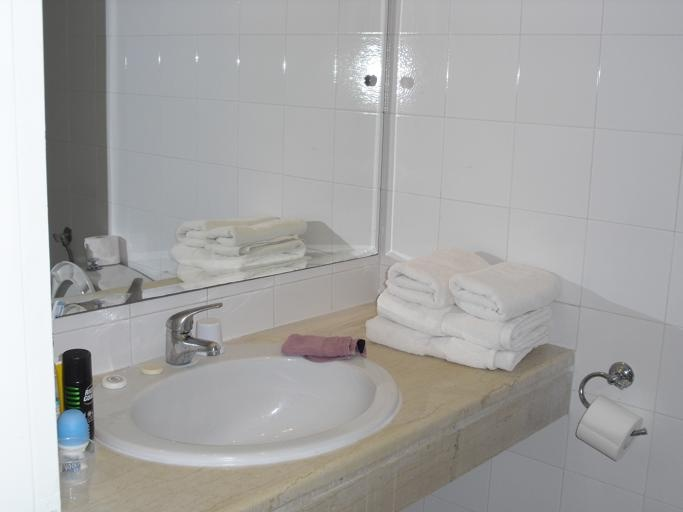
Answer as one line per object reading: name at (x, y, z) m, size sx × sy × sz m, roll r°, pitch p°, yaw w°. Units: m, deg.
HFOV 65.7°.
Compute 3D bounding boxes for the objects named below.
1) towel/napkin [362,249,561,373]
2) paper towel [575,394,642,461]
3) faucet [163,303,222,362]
towel/napkin at (0.357, 0.066, 1.620) m, size 0.409 × 0.206 × 0.390 m, roll -16°, pitch 22°, yaw -42°
paper towel at (0.783, 0.499, 1.545) m, size 0.146 × 0.143 × 0.079 m, roll 14°, pitch 17°, yaw 39°
faucet at (-0.415, 0.216, 1.458) m, size 0.169 × 0.174 × 0.074 m, roll 6°, pitch 10°, yaw 18°
